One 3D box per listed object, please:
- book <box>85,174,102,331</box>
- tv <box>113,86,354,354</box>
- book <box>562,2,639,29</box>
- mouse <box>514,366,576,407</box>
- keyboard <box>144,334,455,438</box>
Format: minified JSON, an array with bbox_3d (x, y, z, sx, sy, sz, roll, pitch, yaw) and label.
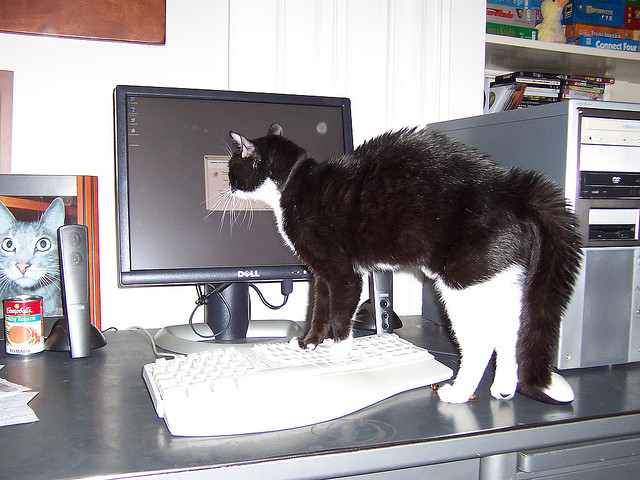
[{"bbox_3d":[-0.591,0.038,1.523,0.036,0.398,0.281,-4,13,-20],"label":"book"},{"bbox_3d":[-0.218,-0.064,1.445,0.746,0.709,0.264,0,-1,-16],"label":"tv"},{"bbox_3d":[0.977,-0.779,2.017,0.273,0.076,0.072,-2,12,-12],"label":"book"},{"bbox_3d":[0.466,0.308,1.188,0.066,0.039,0.123,-3,5,-7],"label":"mouse"},{"bbox_3d":[-0.036,0.289,1.235,0.630,0.091,0.275,-4,13,-20],"label":"keyboard"}]
